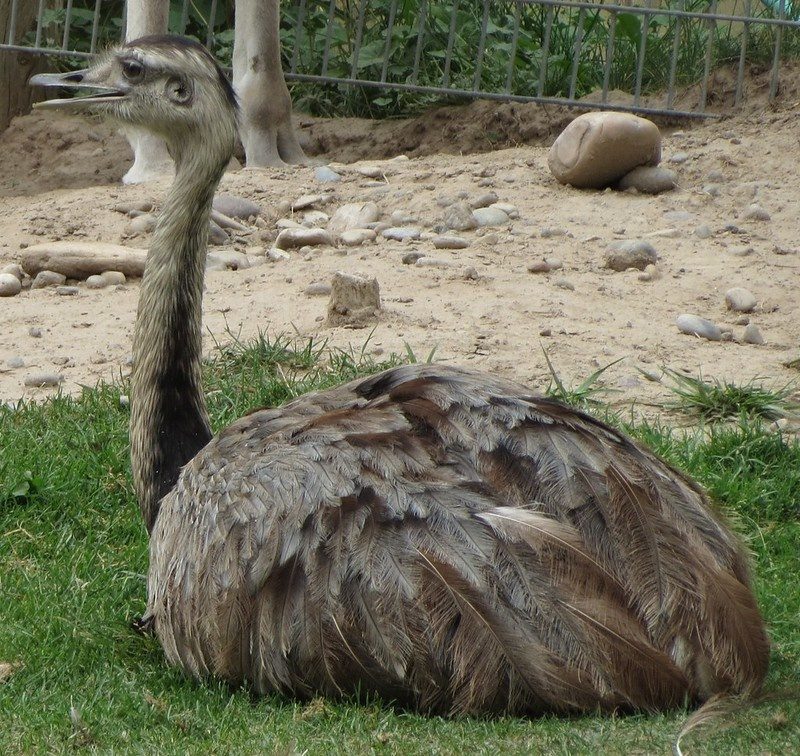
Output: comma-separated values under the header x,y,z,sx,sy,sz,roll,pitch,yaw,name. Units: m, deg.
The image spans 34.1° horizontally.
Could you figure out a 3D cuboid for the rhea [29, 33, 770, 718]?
x,y,z,sx,sy,sz,roll,pitch,yaw,name
-0.149,0.148,3.795,2.158,2.034,0.851,13,15,30,rhea
